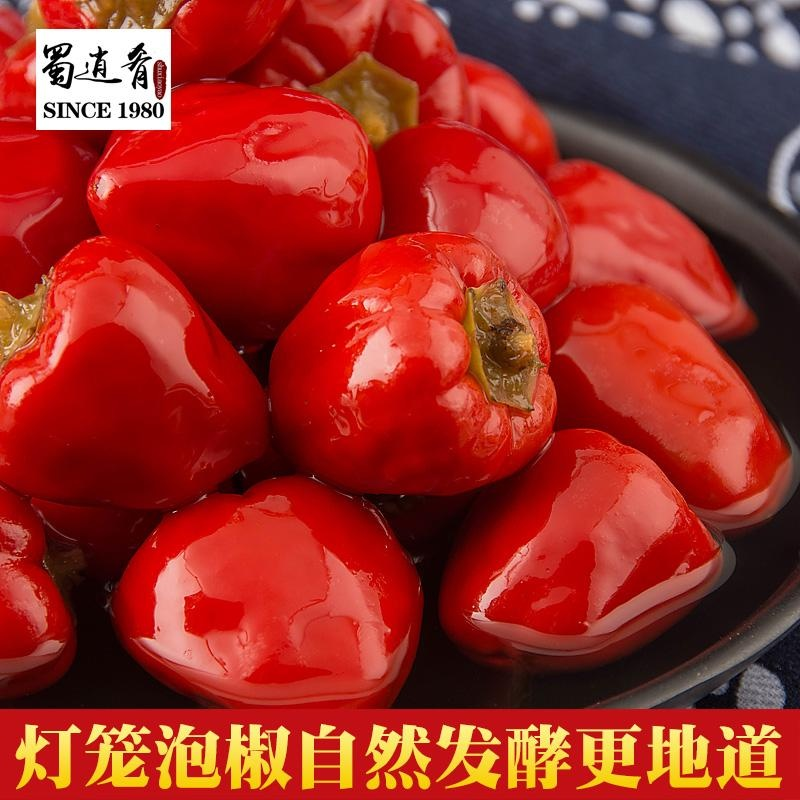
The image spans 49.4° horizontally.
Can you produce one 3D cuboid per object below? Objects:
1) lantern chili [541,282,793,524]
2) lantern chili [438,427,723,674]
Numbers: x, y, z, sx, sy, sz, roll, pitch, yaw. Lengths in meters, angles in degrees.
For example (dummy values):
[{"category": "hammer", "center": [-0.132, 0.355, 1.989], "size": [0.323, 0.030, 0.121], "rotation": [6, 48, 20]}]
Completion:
[{"category": "lantern chili", "center": [0.188, -0.009, 0.713], "size": [0.121, 0.123, 0.210], "rotation": [-33, 69, -33]}, {"category": "lantern chili", "center": [0.132, 0.108, 0.609], "size": [0.182, 0.103, 0.129], "rotation": [-16, 47, -12]}]
